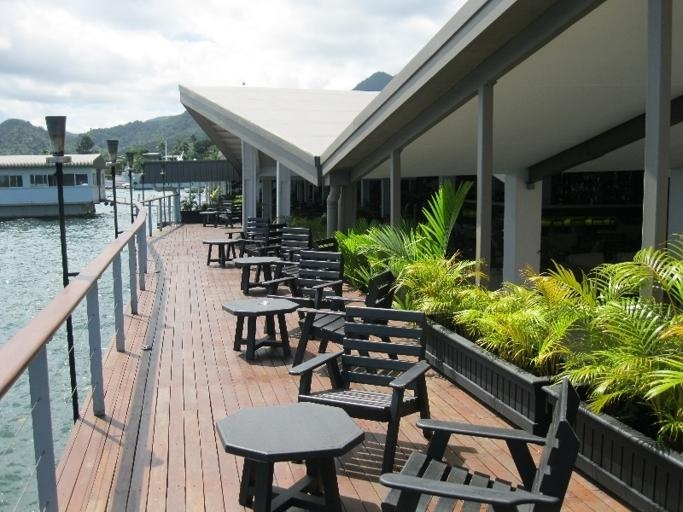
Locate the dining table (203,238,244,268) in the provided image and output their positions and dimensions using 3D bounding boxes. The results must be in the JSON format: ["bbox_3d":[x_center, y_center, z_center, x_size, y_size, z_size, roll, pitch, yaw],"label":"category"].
[{"bbox_3d":[-2.800,-0.096,12.405,0.945,0.806,1.020,1,6,12],"label":"dining table"}]

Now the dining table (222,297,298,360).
[{"bbox_3d":[-0.944,0.739,6.132,0.669,0.565,0.707,-2,5,-17],"label":"dining table"}]
